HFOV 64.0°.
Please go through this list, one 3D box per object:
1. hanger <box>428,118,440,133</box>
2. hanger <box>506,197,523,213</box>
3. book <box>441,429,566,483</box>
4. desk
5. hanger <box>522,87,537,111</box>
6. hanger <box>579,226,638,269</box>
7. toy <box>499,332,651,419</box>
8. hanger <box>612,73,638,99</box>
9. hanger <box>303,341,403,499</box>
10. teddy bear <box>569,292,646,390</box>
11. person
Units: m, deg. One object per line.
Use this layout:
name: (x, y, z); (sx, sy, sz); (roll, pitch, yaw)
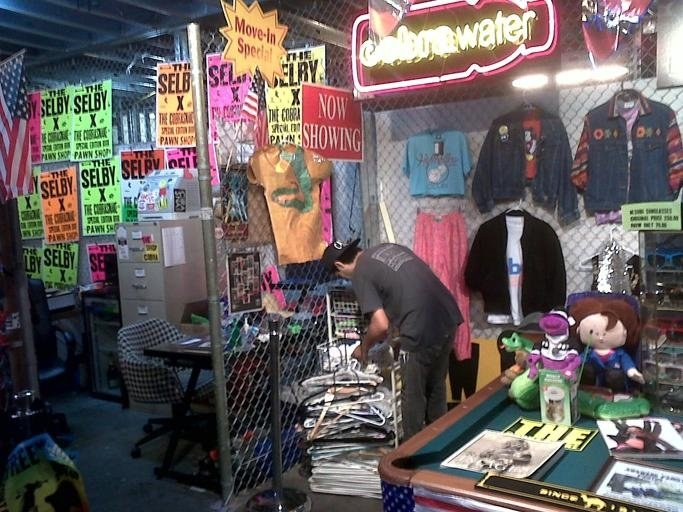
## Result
hanger: (0.901, -1.261, 5.280); (0.111, 0.139, 0.029); (5, -16, 40)
hanger: (1.588, -0.477, 4.983); (0.123, 0.007, 0.189); (-23, 30, 37)
book: (0.657, 0.799, 2.208); (0.470, 0.037, 0.321); (-1, 16, 20)
desk: (-0.852, 1.233, 4.331); (0.612, 0.938, 1.137); (5, 8, 34)
hanger: (1.670, -1.413, 4.881); (0.170, 0.213, 0.198); (-1, 14, 19)
hanger: (2.288, -0.051, 4.687); (0.462, 0.390, 0.209); (2, 14, 29)
toy: (1.100, 0.588, 2.571); (0.540, 0.259, 0.351); (-1, 14, 21)
hanger: (2.389, -1.434, 4.577); (0.137, 0.239, 0.063); (-1, -3, 22)
hanger: (0.087, 1.182, 4.340); (0.705, 1.161, 0.325); (0, -4, 5)
teddy bear: (1.367, 0.447, 2.849); (0.313, 0.555, 0.271); (-2, 9, 27)
person: (0.415, 0.657, 4.182); (0.974, 1.643, 0.774); (3, 21, 29)
